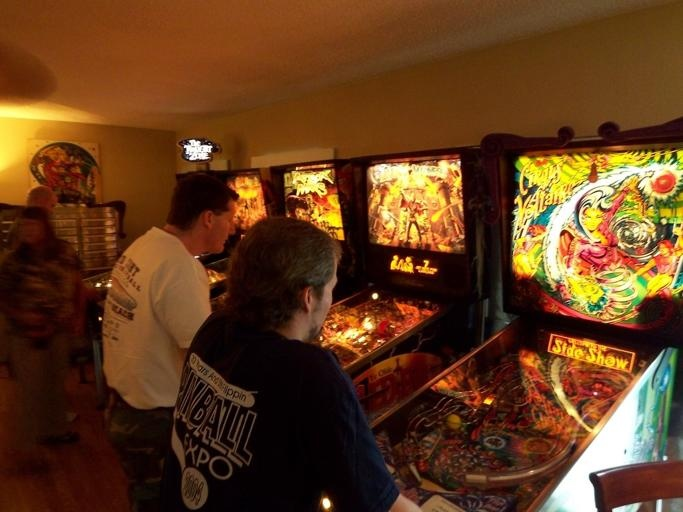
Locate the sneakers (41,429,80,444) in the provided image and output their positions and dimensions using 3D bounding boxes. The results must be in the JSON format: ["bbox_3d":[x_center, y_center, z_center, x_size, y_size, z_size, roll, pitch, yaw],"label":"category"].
[{"bbox_3d":[-1.966,1.282,3.565,0.120,0.117,0.119,1,0,1],"label":"sneakers"}]
